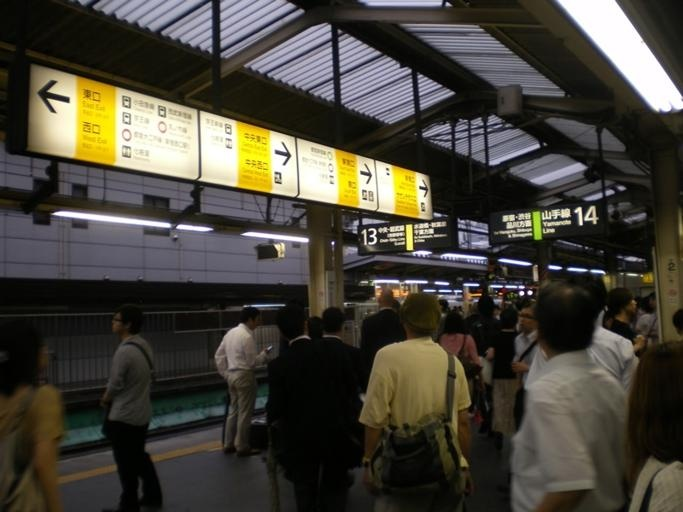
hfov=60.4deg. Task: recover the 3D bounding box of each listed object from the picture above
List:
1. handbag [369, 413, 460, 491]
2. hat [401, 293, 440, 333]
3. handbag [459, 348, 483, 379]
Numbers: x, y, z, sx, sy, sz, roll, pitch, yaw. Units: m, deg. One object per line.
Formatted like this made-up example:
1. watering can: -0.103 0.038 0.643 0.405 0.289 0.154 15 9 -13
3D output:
1. handbag: 0.519 1.294 4.052 0.485 0.526 0.493 -5 8 20
2. hat: 0.582 0.425 4.301 0.225 0.324 0.104 8 -10 -2
3. handbag: 1.531 1.329 7.179 0.347 0.328 0.244 -1 2 -25
